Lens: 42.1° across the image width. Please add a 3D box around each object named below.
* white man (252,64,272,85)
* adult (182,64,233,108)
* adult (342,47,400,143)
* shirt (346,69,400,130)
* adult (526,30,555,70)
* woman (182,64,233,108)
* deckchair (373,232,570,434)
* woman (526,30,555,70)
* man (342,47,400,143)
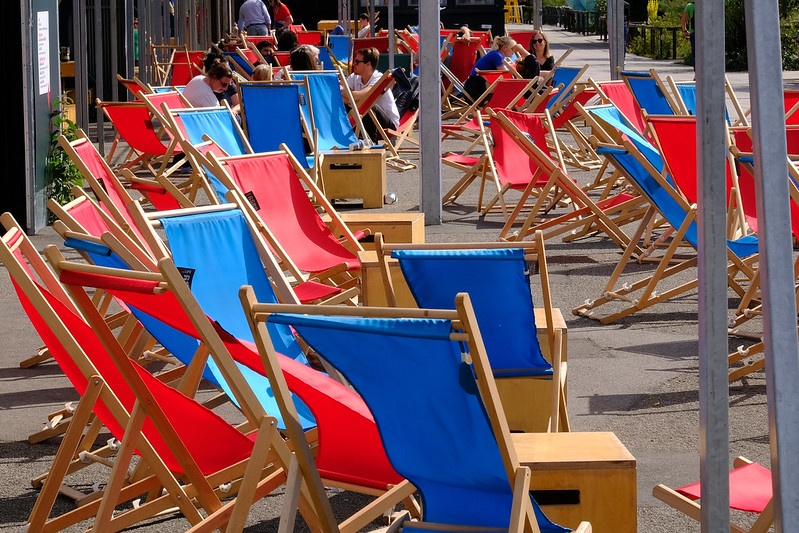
[{"bbox_3d":[-1.612,-2.301,12.226,0.210,0.164,0.711,-4,13,-8],"label":"white man"},{"bbox_3d":[-2.196,-2.080,11.930,0.424,0.640,0.593,10,19,-20],"label":"adult"},{"bbox_3d":[-0.346,-2.186,13.304,0.653,1.212,1.253,-2,12,1],"label":"adult"},{"bbox_3d":[-0.442,-2.410,13.612,0.494,0.788,0.748,-1,43,-13],"label":"shirt"},{"bbox_3d":[2.144,-3.296,16.005,0.388,0.673,0.594,-6,4,14],"label":"adult"},{"bbox_3d":[-2.202,-2.061,11.934,0.426,0.664,0.618,11,11,-22],"label":"woman"},{"bbox_3d":[0.454,0.227,5.453,0.743,1.471,1.091,-2,15,13],"label":"deckchair"},{"bbox_3d":[2.141,-3.294,15.996,0.395,0.677,0.617,-6,3,15],"label":"woman"},{"bbox_3d":[-0.346,-2.184,13.294,0.664,1.212,1.237,-2,12,0],"label":"man"}]
